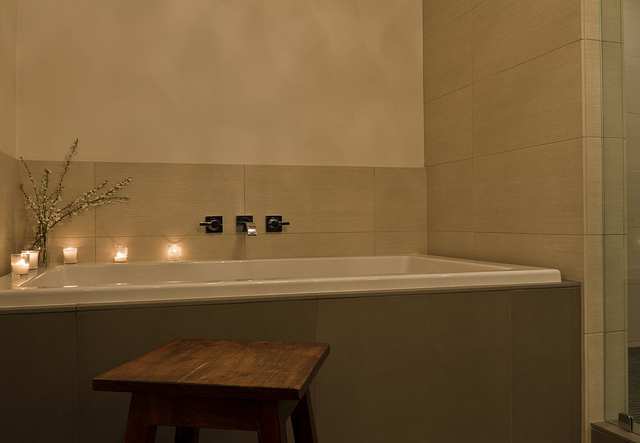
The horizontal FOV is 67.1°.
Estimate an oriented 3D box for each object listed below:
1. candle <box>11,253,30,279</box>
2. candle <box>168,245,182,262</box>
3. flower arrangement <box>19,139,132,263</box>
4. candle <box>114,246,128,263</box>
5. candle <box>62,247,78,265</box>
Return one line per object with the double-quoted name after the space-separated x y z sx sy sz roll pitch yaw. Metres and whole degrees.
-1.454 0.216 2.344 0.123 0.113 0.131 4 -92 -32 "candle"
-0.881 0.195 2.940 0.092 0.091 0.102 3 -94 -27 "candle"
-1.507 -0.062 3.099 0.694 0.592 0.682 16 -104 -33 "flower arrangement"
-1.173 0.193 2.842 0.086 0.087 0.096 0 -94 10 "candle"
-1.435 0.200 2.815 0.098 0.096 0.108 2 -91 -21 "candle"
